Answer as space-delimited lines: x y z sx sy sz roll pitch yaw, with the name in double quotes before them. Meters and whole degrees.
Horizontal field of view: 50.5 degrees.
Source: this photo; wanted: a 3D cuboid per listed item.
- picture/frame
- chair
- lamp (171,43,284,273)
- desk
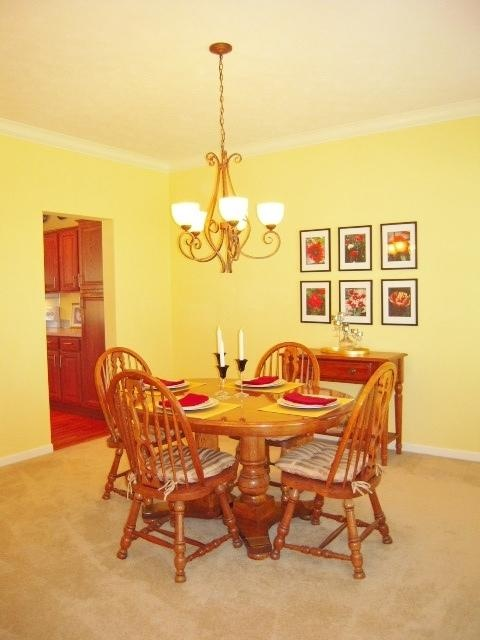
"picture/frame" 0.953 -0.366 4.138 0.966 0.816 0.035 0 2 36
"chair" -0.005 0.642 2.223 1.019 0.663 1.042 1 4 44
"lamp" -0.086 -0.923 2.855 0.522 1.272 0.658 -5 -3 40
"desk" 0.880 0.654 3.940 0.316 0.699 0.749 -4 -1 -33
